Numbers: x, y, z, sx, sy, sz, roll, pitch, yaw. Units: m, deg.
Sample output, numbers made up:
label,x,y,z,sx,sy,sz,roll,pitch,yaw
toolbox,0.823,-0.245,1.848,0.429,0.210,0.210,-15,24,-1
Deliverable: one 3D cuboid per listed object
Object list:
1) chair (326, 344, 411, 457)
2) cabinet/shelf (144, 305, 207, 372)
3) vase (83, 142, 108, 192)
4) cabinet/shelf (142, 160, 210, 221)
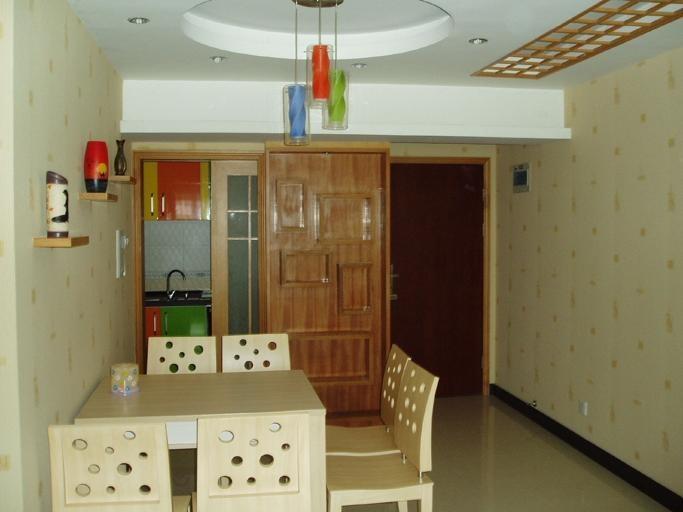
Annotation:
label,x,y,z,sx,sy,sz,roll,pitch,yaw
chair,0.146,0.827,3.908,0.535,0.686,0.578,1,7,-3
cabinet/shelf,-1.549,0.785,5.815,0.601,0.331,0.348,1,6,-3
vase,-1.462,-0.542,3.692,0.131,0.310,0.196,-5,9,-32
cabinet/shelf,-1.526,-0.646,5.774,0.515,0.493,0.179,0,2,-2
